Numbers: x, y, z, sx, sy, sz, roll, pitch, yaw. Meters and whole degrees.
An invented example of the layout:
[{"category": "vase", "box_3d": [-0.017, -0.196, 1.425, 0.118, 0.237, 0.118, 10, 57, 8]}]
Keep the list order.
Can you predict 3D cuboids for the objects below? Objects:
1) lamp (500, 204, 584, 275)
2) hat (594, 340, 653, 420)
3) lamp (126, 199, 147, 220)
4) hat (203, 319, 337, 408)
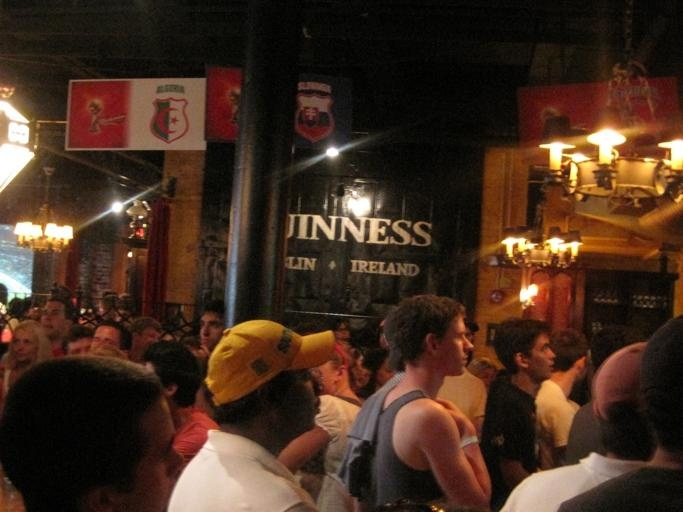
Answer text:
[{"category": "lamp", "box_3d": [3.081, -0.287, 12.108, 1.352, 0.540, 1.242, 0, -8, 17]}, {"category": "hat", "box_3d": [1.407, 0.627, 4.091, 0.232, 0.390, 0.290, 32, -15, -19]}, {"category": "lamp", "box_3d": [-4.123, -0.987, 15.961, 0.337, 0.477, 1.115, 3, -7, -11]}, {"category": "hat", "box_3d": [-0.390, 0.525, 4.364, 0.690, 0.309, 0.404, -23, 15, -7]}]
